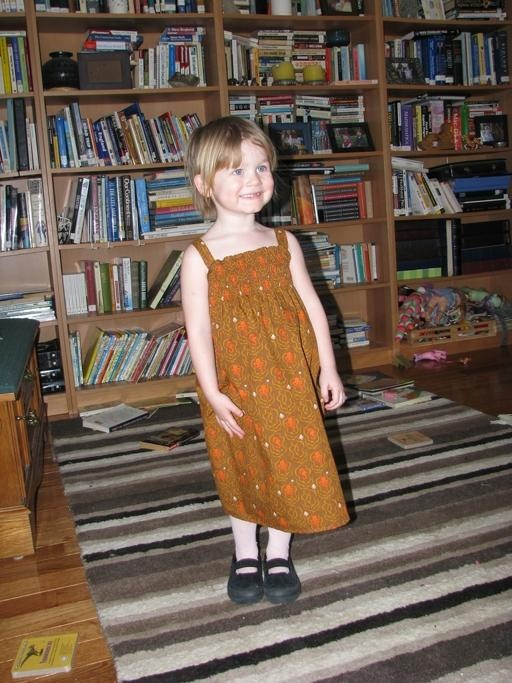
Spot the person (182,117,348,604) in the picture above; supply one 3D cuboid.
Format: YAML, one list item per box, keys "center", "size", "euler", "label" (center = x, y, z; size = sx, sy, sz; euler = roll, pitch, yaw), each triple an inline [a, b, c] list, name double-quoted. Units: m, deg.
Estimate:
- center: [0.017, 0.037, 1.089]
  size: [0.280, 0.918, 0.272]
  euler: [-4, 10, 8]
  label: "person"

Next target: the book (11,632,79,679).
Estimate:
- center: [-0.362, 0.542, 0.987]
  size: [0.098, 0.016, 0.108]
  euler: [-6, 10, -11]
  label: "book"
